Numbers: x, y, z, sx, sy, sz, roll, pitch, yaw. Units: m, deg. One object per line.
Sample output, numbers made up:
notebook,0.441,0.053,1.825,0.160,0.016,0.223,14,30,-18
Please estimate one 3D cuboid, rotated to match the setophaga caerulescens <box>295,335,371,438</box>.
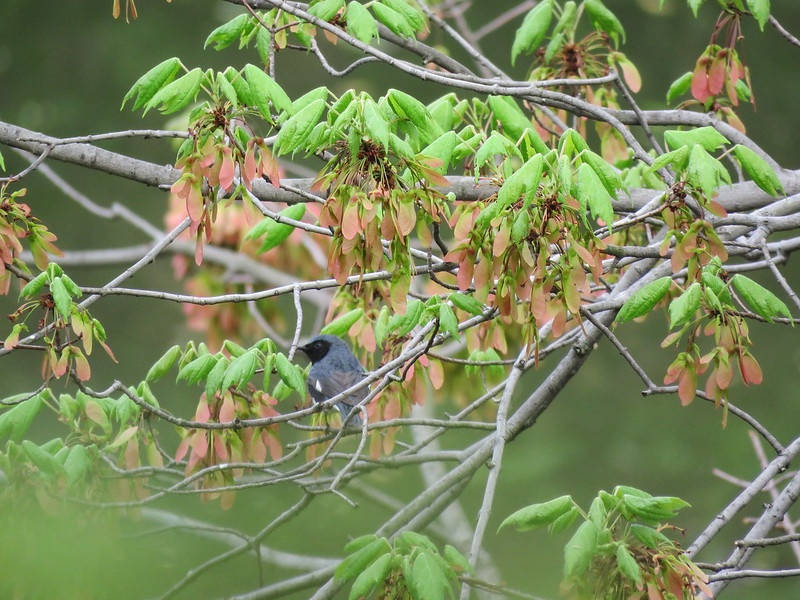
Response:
setophaga caerulescens,-0.432,0.509,7.143,0.314,0.649,0.572,-6,-80,-25
